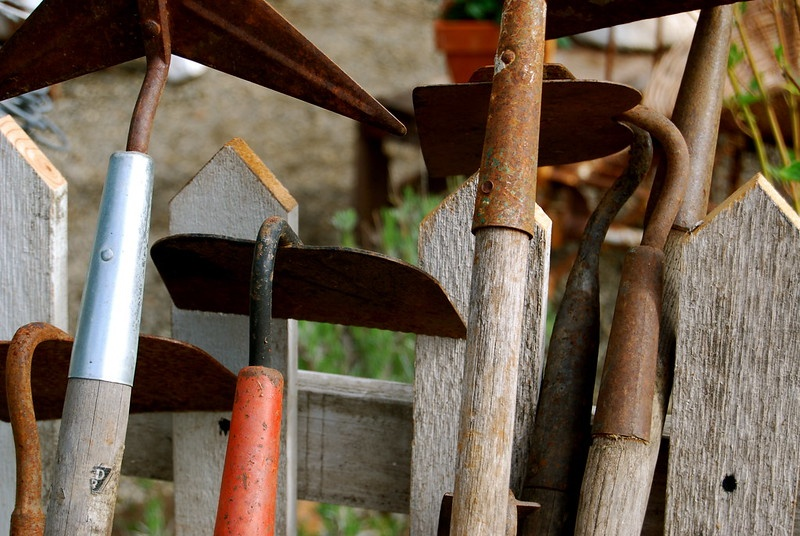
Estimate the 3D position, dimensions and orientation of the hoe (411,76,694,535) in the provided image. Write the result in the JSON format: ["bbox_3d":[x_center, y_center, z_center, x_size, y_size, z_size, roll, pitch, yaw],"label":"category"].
[{"bbox_3d":[0.330,0.075,3.389,0.545,0.977,0.455,4,-3,-5],"label":"hoe"}]
